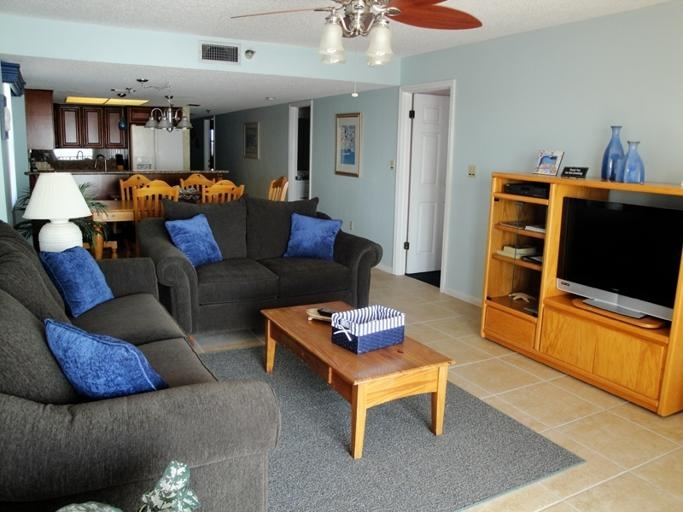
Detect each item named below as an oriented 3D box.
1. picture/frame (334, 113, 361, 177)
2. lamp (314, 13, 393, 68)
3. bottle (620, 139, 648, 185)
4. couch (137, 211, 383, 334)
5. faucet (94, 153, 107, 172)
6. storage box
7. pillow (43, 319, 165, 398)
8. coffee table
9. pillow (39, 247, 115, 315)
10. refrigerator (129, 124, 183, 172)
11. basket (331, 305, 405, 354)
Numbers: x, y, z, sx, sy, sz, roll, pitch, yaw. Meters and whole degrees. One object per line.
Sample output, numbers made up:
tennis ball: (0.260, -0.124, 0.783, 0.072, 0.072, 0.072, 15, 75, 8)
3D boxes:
picture/frame: (0.099, -1.618, 7.156, 0.087, 1.038, 0.925, -5, 13, -27)
lamp: (0.101, -1.189, 2.793, 0.379, 0.224, 0.335, -4, 25, -11)
bottle: (2.110, -0.676, 3.567, 0.151, 0.288, 0.477, 8, 16, 30)
couch: (-0.749, 0.079, 4.655, 1.990, 0.833, 0.996, -5, 19, -27)
faucet: (-4.677, -1.831, 9.608, 0.239, 0.296, 0.542, -7, 15, -25)
storage box: (0.151, 0.436, 3.043, 0.409, 0.154, 0.263, -8, 15, -30)
pillow: (-0.926, 0.415, 1.975, 0.386, 0.329, 0.106, 5, 33, 15)
coffee table: (0.014, 0.697, 3.248, 0.791, 0.395, 1.156, -3, 17, -29)
pillow: (-1.702, 0.048, 3.211, 0.329, 0.090, 0.335, -21, 44, -41)
refrigerator: (-3.563, -2.100, 9.674, 1.040, 0.832, 0.286, -6, 16, -20)
basket: (0.160, 0.432, 3.049, 0.412, 0.154, 0.263, -8, 15, -30)
